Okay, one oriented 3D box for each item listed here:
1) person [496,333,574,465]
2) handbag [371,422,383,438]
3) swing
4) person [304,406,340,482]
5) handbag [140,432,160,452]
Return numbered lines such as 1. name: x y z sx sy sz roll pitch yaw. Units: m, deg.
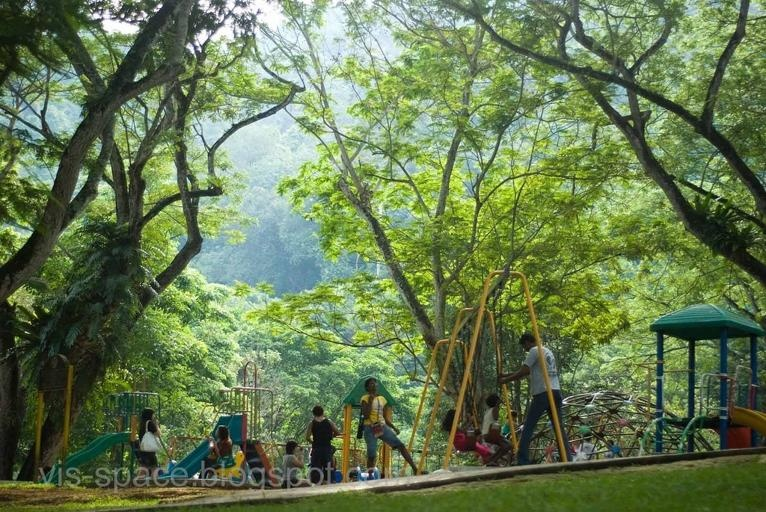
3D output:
1. person: 2.986 2.758 15.659 1.587 2.378 1.004 0 -10 4
2. handbag: -0.119 3.874 17.622 0.237 0.310 0.239 3 -22 -6
3. swing: 1.624 2.237 15.480 1.412 3.832 1.067 -5 -7 35
4. person: -1.366 4.229 17.911 0.737 1.873 1.383 3 -22 -5
5. handbag: -5.669 4.496 19.081 0.415 0.404 0.210 9 -28 -32
